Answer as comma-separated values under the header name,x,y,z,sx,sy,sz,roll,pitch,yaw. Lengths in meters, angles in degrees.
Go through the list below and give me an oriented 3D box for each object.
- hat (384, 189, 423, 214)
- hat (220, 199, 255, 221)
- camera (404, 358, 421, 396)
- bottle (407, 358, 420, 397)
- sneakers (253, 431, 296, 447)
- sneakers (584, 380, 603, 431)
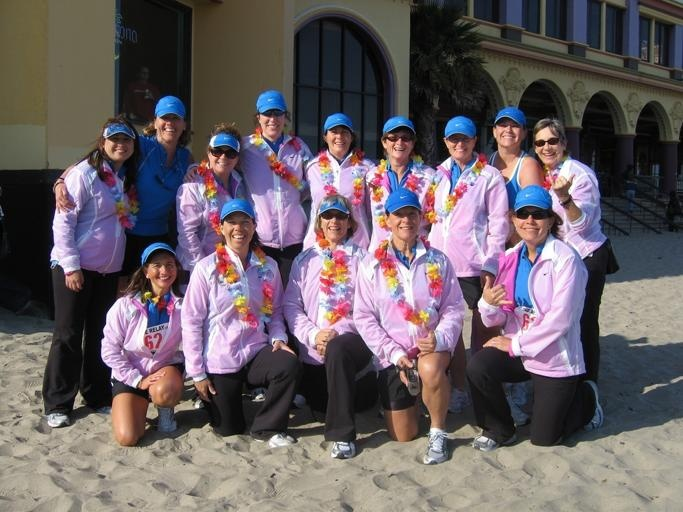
name,x,y,z,sx,sy,sz,roll,pitch,yaw
hat,0.562,-0.520,7.204,0.298,0.249,0.502,4,-5,-1
hat,-1.048,-0.428,7.341,0.267,0.236,0.472,2,-13,-10
camera,0.682,1.159,6.997,0.131,0.344,0.105,-3,8,16
bottle,0.694,1.164,6.996,0.123,0.329,0.100,-2,9,8
sneakers,-0.670,1.774,7.097,0.346,0.190,0.156,-2,0,11
sneakers,2.551,1.548,7.395,0.165,0.591,0.229,-1,0,22
